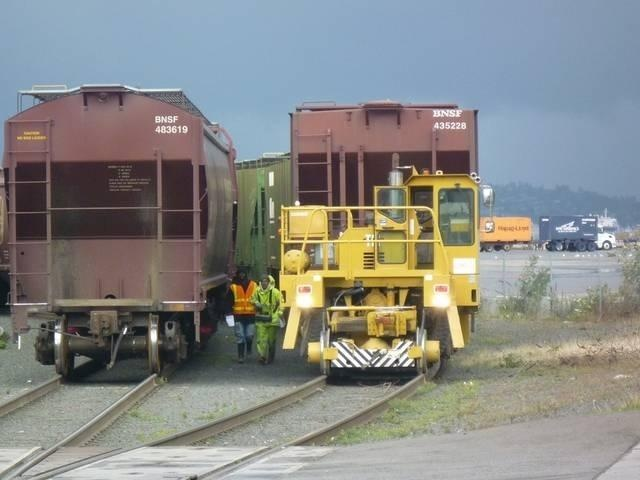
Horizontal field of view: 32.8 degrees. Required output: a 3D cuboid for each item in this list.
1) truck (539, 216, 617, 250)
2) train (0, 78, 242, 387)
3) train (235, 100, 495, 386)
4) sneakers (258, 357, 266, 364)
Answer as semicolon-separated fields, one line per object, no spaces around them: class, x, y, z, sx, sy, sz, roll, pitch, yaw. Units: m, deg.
truck;22.372;-0.720;92.665;6.436;3.226;2.278;-1;6;35
train;-4.062;-0.197;22.488;4.832;5.932;2.781;1;-3;-28
train;1.885;-1.252;25.998;4.471;5.089;9.116;0;19;12
sneakers;-1.288;2.658;24.226;0.126;0.133;0.134;0;-8;-6
